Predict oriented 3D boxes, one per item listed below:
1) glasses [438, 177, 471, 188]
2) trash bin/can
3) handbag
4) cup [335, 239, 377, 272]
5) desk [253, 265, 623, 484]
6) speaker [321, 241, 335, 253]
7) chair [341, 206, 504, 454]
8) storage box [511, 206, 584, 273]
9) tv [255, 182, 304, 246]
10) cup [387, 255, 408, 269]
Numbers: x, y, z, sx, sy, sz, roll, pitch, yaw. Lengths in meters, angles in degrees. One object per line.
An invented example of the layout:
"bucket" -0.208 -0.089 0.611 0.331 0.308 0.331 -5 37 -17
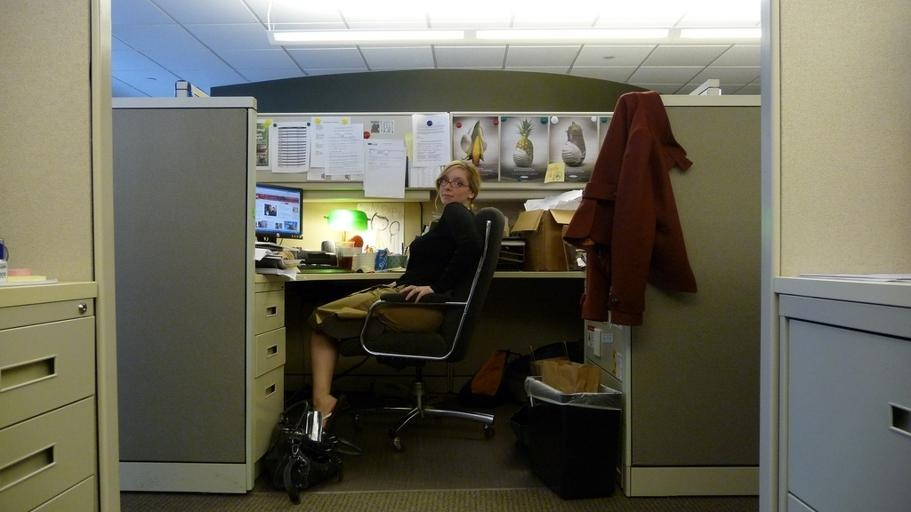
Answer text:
"glasses" -0.010 -0.417 3.660 0.095 0.026 0.095 2 -4 28
"trash bin/can" 0.521 0.818 3.213 0.511 0.440 0.645 1 -3 -5
"handbag" -0.688 0.937 3.128 0.170 0.409 0.437 -22 -37 39
"cup" -0.582 -0.009 3.847 0.237 0.154 0.198 -1 3 -15
"desk" 0.011 0.479 3.449 1.359 0.748 1.268 2 -2 1
"speaker" -0.761 -0.059 3.945 0.077 0.065 0.069 0 4 8
"chair" -0.080 0.472 4.072 1.276 1.606 1.204 3 -5 0
"storage box" 0.544 -0.094 3.918 0.363 0.250 0.381 1 1 32
"tv" -1.045 -0.263 3.857 0.442 0.391 0.166 1 -2 -44
"cup" -0.349 0.032 3.972 0.105 0.067 0.101 0 -4 0
